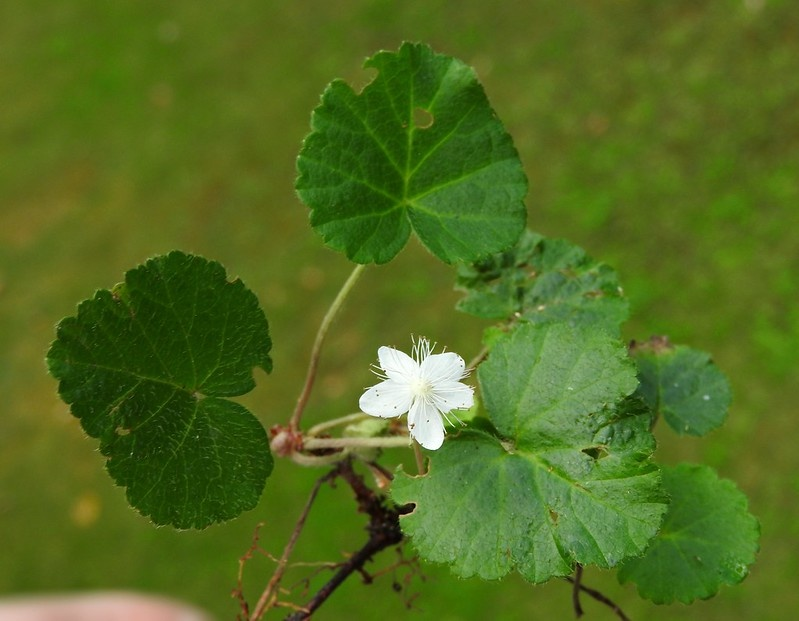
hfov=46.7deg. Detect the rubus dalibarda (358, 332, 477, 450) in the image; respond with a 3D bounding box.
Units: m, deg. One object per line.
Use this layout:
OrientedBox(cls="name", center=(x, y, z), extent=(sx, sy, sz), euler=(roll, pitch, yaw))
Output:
OrientedBox(cls="rubus dalibarda", center=(0.083, 0.288, 3.641), extent=(0.420, 0.186, 0.487), euler=(28, 34, 36))
